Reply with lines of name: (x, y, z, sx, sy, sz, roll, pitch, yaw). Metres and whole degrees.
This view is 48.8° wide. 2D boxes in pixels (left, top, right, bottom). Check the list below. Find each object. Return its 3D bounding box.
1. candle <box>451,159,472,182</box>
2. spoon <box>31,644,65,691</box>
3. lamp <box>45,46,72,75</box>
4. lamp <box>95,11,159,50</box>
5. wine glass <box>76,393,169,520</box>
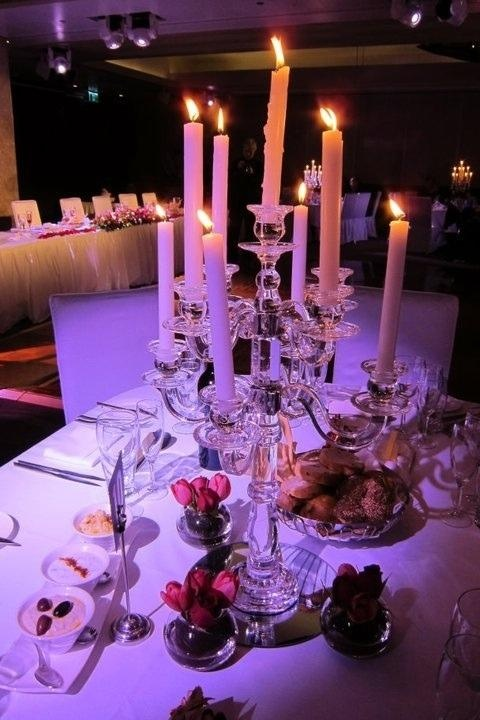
candle: (3.718, -3.159, 8.843, 0.369, 0.381, 1.123, 7, 20, 20)
spoon: (-0.227, 0.362, 0.619, 0.047, 0.050, 0.021, 13, 33, 31)
lamp: (-2.400, -3.954, 6.960, 0.309, 0.380, 0.617, -6, 20, -17)
lamp: (-1.185, -3.504, 5.622, 0.641, 0.285, 0.249, 5, 19, 16)
wine glass: (-0.235, 0.151, 1.082, 0.186, 0.282, 0.171, 6, 25, 7)
